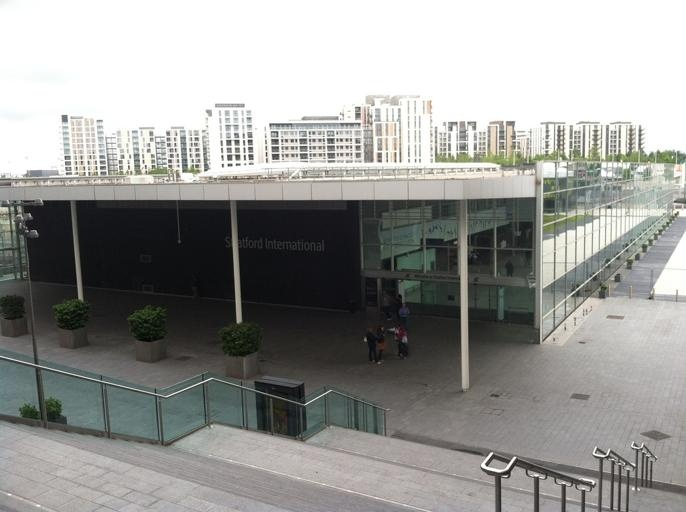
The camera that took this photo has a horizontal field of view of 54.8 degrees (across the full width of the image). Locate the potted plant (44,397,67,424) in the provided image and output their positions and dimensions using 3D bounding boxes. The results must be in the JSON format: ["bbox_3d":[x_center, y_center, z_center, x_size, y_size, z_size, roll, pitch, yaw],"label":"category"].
[{"bbox_3d":[-5.886,3.166,13.638,0.470,0.606,0.163,11,7,-10],"label":"potted plant"}]

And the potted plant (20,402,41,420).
[{"bbox_3d":[-6.419,3.152,13.594,0.324,0.285,0.236,19,30,18],"label":"potted plant"}]

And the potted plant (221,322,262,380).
[{"bbox_3d":[-3.220,3.175,21.826,1.288,1.343,1.416,8,-15,-41],"label":"potted plant"}]
